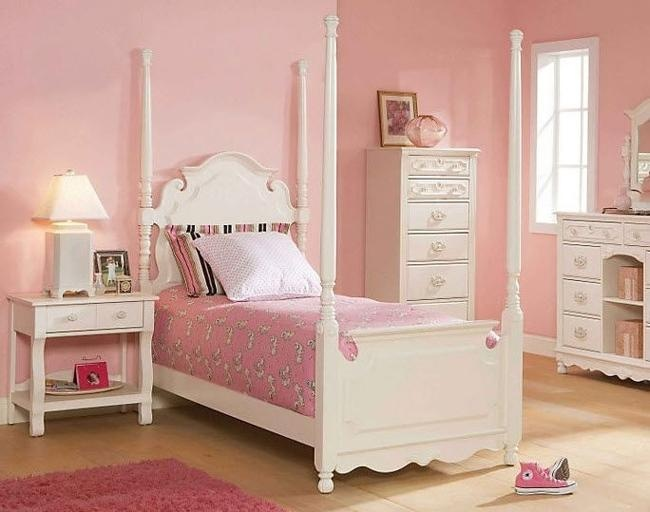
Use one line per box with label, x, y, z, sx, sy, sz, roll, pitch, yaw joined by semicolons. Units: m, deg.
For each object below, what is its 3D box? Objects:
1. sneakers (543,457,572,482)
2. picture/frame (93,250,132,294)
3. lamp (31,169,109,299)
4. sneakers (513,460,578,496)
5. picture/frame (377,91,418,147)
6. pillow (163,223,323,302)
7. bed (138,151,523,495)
sneakers;1.031;0.928;2.759;0.066;0.059;0.155;-11;-3;20
picture/frame;-1.296;0.103;3.817;0.268;0.337;0.036;1;-11;-32
lamp;-1.489;-0.138;3.690;0.368;0.717;0.363;-4;5;-31
sneakers;0.931;0.935;2.731;0.338;0.147;0.111;-1;1;-25
picture/frame;0.574;-1.107;5.138;0.516;0.578;0.042;-4;4;-39
pillow;-0.462;0.058;3.808;0.578;0.149;0.549;-1;38;-24
bed;-0.134;0.111;3.674;1.239;1.556;2.197;-1;3;-35
